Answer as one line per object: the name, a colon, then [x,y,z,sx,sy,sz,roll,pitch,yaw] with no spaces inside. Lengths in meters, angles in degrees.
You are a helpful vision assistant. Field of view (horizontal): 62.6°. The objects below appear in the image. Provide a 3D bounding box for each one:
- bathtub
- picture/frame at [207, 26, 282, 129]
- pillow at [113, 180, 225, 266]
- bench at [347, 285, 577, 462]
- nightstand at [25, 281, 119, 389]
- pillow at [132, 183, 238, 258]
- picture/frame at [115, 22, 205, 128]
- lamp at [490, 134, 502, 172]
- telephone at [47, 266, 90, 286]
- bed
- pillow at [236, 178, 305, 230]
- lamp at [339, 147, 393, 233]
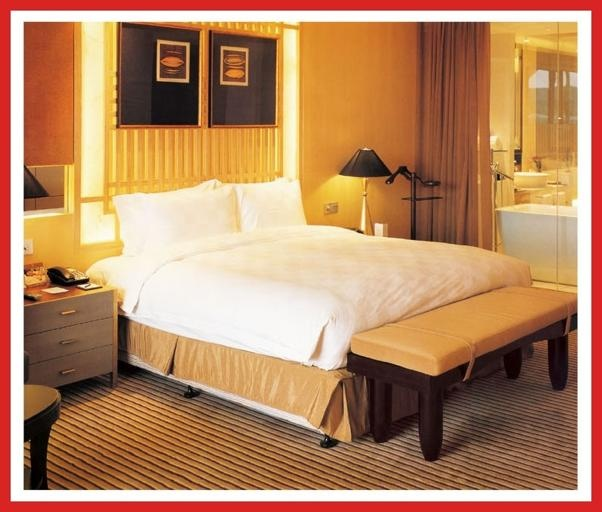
bathtub: [2.498,-0.091,5.217,0.844,0.646,0.850,4,8,41]
picture/frame: [-0.543,-1.641,4.492,0.043,0.964,0.943,5,8,41]
pillow: [-1.020,-0.225,3.714,0.562,0.362,0.168,-14,2,-15]
bench: [1.047,0.635,2.916,1.529,0.655,0.599,-11,10,-37]
nightstand: [-1.416,0.459,3.013,0.344,0.603,0.607,3,5,34]
pillow: [-0.911,-0.252,3.765,0.521,0.316,0.134,-11,-4,-35]
picture/frame: [-1.145,-1.414,3.960,0.754,0.843,0.024,-5,40,-19]
lamp: [2.349,-1.249,5.927,0.147,0.417,0.066,2,9,14]
telephone: [-1.551,0.111,3.263,0.212,0.083,0.125,5,8,33]
bed: [-0.283,0.214,3.294,1.977,0.980,2.023,5,9,44]
pillow: [-0.279,-0.435,4.362,0.483,0.502,0.143,-6,-11,-36]
lamp: [0.711,-0.707,5.473,0.513,0.936,0.529,-19,27,-33]
